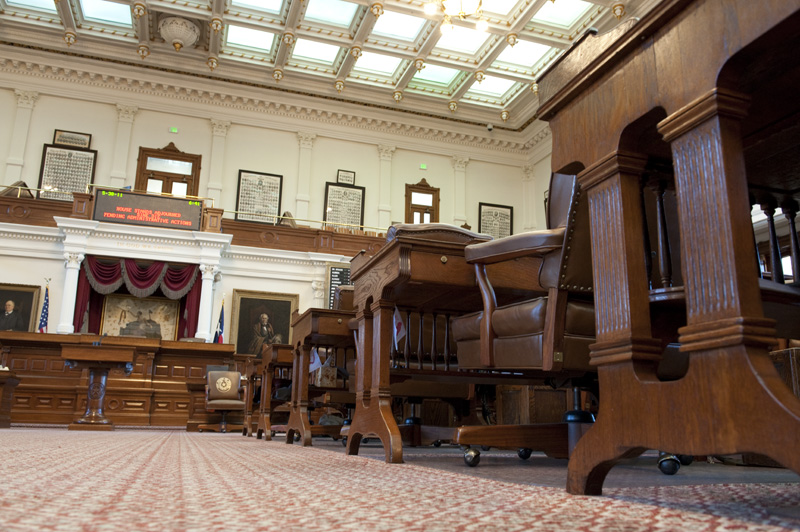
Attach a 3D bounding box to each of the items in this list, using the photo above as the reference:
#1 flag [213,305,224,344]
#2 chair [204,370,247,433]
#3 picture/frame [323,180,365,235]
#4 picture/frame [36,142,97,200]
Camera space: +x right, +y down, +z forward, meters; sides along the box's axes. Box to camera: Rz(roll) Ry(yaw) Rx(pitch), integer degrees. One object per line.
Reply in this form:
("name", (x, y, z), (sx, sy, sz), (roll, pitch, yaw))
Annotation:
("flag", (-4.236, 1.337, 13.189), (0.237, 0.932, 0.970), (4, -13, -17))
("chair", (-2.757, 2.128, 8.816), (0.615, 0.909, 0.568), (5, -16, -21))
("picture/frame", (-1.626, -1.567, 15.547), (1.545, 1.734, 0.141), (5, -13, -20))
("picture/frame", (-8.337, -2.326, 13.954), (1.501, 1.677, 0.125), (6, -13, -22))
